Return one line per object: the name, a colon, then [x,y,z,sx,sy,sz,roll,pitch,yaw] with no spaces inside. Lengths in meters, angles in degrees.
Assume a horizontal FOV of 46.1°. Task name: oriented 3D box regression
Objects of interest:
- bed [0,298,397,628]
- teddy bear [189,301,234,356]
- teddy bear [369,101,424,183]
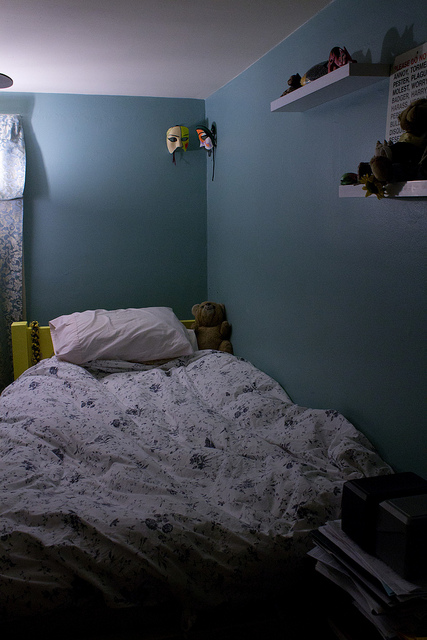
bed: [-0.035,0.432,1.658,0.716,0.373,1.214,0,-2,-13]
teddy bear: [-0.026,0.063,3.363,0.343,0.432,0.266,-6,-17,16]
teddy bear: [0.463,-0.443,1.258,0.110,0.206,0.137,4,11,34]
